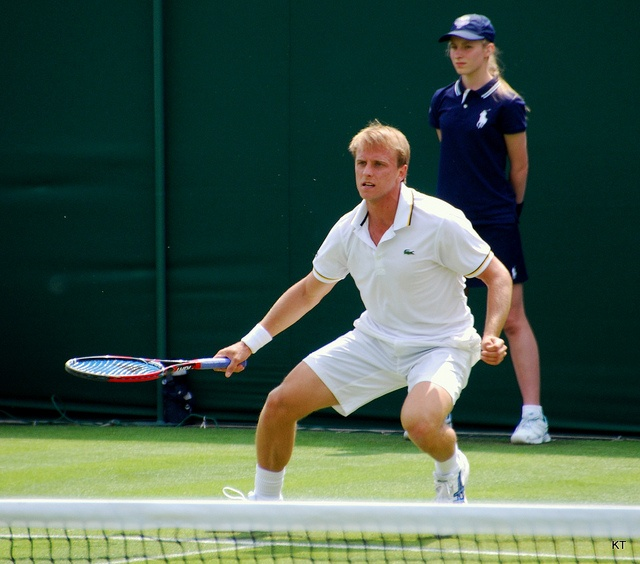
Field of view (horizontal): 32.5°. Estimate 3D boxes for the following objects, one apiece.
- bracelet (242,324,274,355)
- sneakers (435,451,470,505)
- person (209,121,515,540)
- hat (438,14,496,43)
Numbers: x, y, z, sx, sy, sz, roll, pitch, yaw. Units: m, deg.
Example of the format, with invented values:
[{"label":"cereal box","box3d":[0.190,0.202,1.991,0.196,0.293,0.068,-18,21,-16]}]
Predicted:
[{"label":"bracelet","box3d":[-0.289,0.257,5.153,0.138,0.118,0.142,-47,0,-9]},{"label":"sneakers","box3d":[0.575,0.869,4.732,0.123,0.298,0.097,19,-15,-39]},{"label":"person","box3d":[0.272,0.219,5.576,1.513,2.165,1.176,-10,-19,39]},{"label":"hat","box3d":[0.799,-1.362,5.925,0.230,0.116,0.164,-3,5,-33]}]
